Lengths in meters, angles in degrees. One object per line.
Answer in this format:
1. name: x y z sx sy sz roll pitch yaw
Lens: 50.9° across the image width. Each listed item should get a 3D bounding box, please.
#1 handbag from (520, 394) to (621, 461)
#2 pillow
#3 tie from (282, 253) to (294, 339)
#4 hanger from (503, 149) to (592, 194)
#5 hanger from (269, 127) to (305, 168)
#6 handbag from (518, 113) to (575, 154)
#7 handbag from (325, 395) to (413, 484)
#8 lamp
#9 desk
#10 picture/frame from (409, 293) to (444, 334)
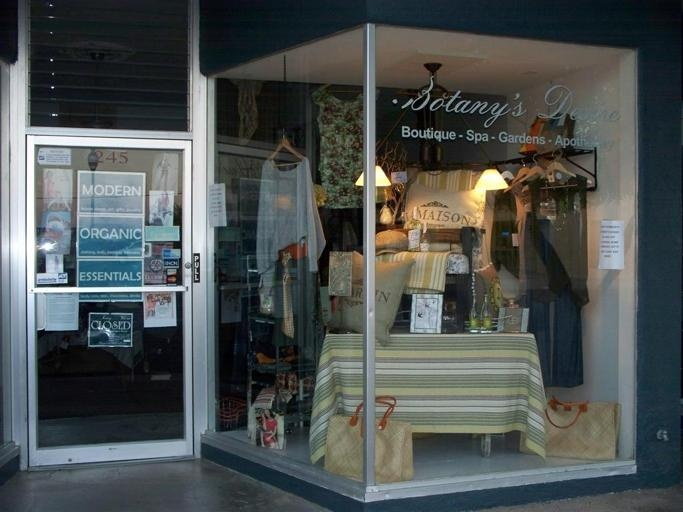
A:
1. handbag: 1.661 1.180 4.938 0.536 0.412 0.176 -1 10 -2
2. pillow: 0.193 0.276 4.582 0.551 0.542 0.166 8 -5 32
3. tie: -0.389 0.279 5.089 0.060 0.589 0.163 -7 12 -32
4. hanger: 1.461 -0.583 4.884 0.672 0.296 0.119 -5 11 -25
5. hanger: -0.413 -0.766 5.058 0.308 0.202 0.012 -10 13 -27
6. handbag: 1.370 -0.838 4.855 0.273 0.263 0.147 -1 9 -13
7. handbag: 0.163 1.154 4.560 0.550 0.513 0.302 -1 10 -2
8. lamp: 0.605 -1.034 4.881 1.358 1.141 0.720 0 6 -6
9. desk: 0.506 0.898 5.174 1.612 0.779 0.910 3 2 -20
10. picture/frame: 0.540 0.362 4.676 0.264 0.303 0.024 1 2 -17
